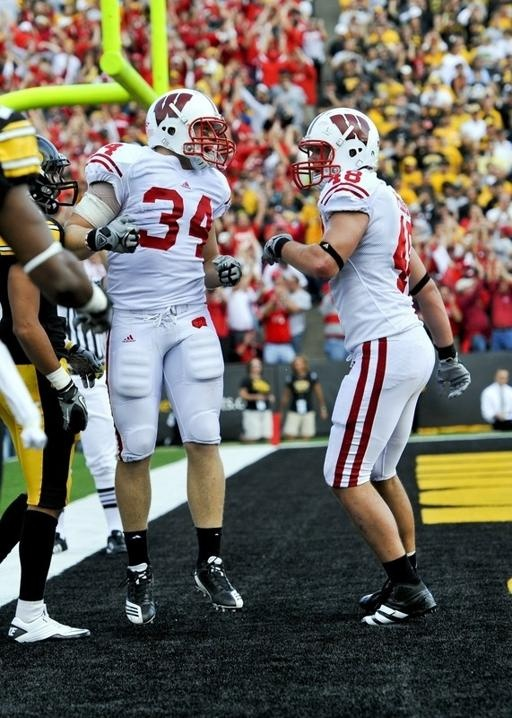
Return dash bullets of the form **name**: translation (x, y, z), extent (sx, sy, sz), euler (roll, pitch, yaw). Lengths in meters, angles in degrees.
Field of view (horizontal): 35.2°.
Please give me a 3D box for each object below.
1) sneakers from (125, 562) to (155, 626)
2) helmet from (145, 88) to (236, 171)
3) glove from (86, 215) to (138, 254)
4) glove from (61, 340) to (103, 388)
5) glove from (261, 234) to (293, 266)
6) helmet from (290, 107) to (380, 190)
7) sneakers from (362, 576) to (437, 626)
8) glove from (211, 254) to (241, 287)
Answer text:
- **sneakers**: translation (-0.356, 0.746, 2.580), extent (0.085, 0.086, 0.210), euler (-3, 38, -2)
- **helmet**: translation (-0.244, -0.820, 2.844), extent (0.344, 0.219, 0.211), euler (5, 20, -9)
- **glove**: translation (-0.447, -0.379, 2.462), extent (0.154, 0.065, 0.091), euler (-8, 65, 1)
- **glove**: translation (-0.581, 0.020, 2.755), extent (0.110, 0.182, 0.055), euler (-7, 41, 49)
- **glove**: translation (0.065, -0.361, 2.713), extent (0.119, 0.088, 0.047), euler (-43, 72, -6)
- **helmet**: translation (0.286, -0.727, 2.779), extent (0.352, 0.225, 0.224), euler (-4, 10, -7)
- **sneakers**: translation (0.440, 0.771, 2.544), extent (0.311, 0.107, 0.123), euler (-29, 58, 34)
- **glove**: translation (-0.102, -0.309, 2.856), extent (0.100, 0.112, 0.061), euler (-26, 6, 4)
